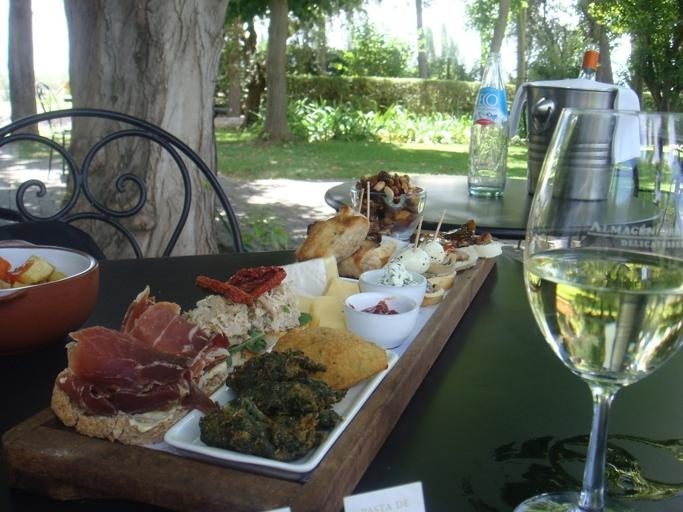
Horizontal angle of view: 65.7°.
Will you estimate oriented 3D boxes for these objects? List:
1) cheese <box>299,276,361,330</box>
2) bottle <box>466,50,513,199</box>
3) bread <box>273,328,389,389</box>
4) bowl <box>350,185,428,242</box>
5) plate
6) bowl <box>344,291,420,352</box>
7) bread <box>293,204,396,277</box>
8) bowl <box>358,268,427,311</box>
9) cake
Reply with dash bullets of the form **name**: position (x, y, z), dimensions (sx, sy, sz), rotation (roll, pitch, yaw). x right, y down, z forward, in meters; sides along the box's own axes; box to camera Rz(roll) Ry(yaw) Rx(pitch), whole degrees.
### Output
- **cheese**: position (-0.045, 0.115, 1.204), dimensions (0.097, 0.042, 0.124), rotation (34, 33, -20)
- **bottle**: position (0.657, -0.551, 2.361), dimensions (0.162, 0.645, 0.178), rotation (-3, 10, 5)
- **bread**: position (-0.005, 0.143, 0.938), dimensions (0.186, 0.092, 0.154), rotation (8, 12, 42)
- **bowl**: position (0.178, -0.148, 1.820), dimensions (0.254, 0.189, 0.251), rotation (-2, 15, 0)
- **plate**: position (-0.080, 0.197, 0.761), dimensions (0.123, 0.024, 0.224), rotation (7, 18, 24)
- **bowl**: position (0.077, 0.115, 1.103), dimensions (0.138, 0.104, 0.178), rotation (-3, 11, -41)
- **bread**: position (0.002, -0.066, 1.461), dimensions (0.247, 0.196, 0.175), rotation (-5, 11, -33)
- **bowl**: position (0.118, 0.058, 1.208), dimensions (0.140, 0.089, 0.129), rotation (5, 9, -1)
- **cake**: position (0.291, -0.001, 1.468), dimensions (0.302, 0.246, 0.255), rotation (-1, 12, 3)
